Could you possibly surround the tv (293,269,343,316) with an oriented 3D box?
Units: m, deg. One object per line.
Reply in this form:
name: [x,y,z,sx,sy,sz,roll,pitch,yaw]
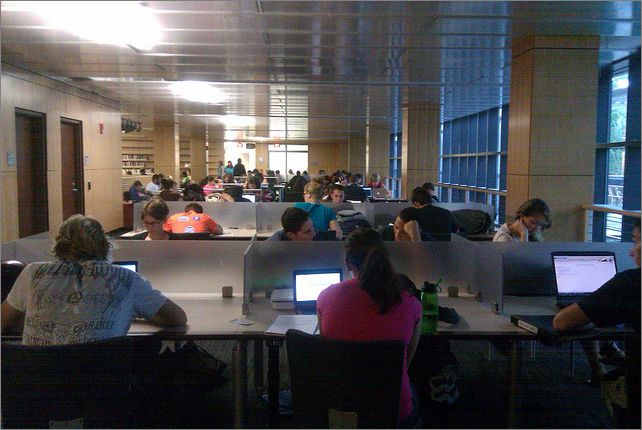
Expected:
tv: [-0.018,0.583,4.199,0.479,0.289,0.323,0,0,-4]
